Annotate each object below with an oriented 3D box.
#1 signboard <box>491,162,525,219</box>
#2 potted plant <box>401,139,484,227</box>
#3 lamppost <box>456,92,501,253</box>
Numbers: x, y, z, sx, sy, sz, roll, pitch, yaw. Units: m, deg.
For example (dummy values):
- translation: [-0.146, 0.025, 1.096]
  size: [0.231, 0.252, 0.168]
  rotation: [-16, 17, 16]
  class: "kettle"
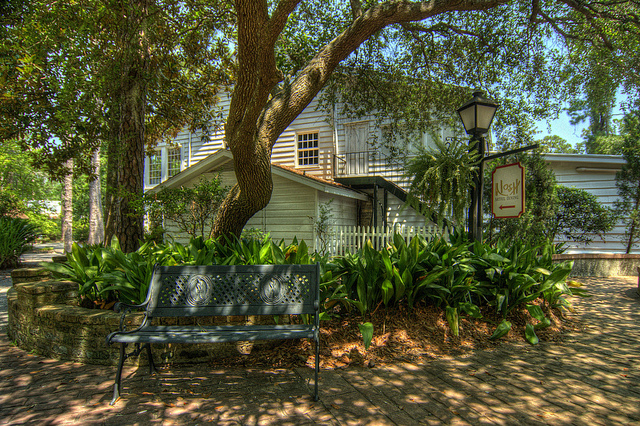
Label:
- translation: [4.105, -0.438, 10.227]
  size: [0.099, 1.216, 0.772]
  rotation: [6, -7, -39]
  class: "signboard"
- translation: [2.799, -0.719, 10.737]
  size: [1.472, 1.893, 1.497]
  rotation: [8, -5, -1]
  class: "potted plant"
- translation: [3.536, -0.971, 10.841]
  size: [0.904, 3.451, 0.858]
  rotation: [0, 0, -18]
  class: "lamppost"
